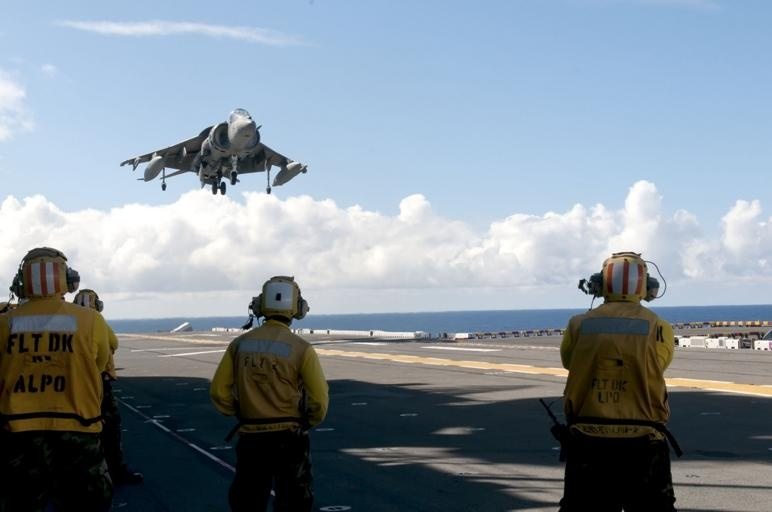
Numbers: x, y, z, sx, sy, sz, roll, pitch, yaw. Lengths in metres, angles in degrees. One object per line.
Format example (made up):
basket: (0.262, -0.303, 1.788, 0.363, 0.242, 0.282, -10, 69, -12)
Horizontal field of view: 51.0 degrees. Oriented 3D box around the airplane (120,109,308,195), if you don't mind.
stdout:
airplane: (-6.886, -4.204, 33.454, 5.981, 1.869, 5.505, -2, -8, -20)
